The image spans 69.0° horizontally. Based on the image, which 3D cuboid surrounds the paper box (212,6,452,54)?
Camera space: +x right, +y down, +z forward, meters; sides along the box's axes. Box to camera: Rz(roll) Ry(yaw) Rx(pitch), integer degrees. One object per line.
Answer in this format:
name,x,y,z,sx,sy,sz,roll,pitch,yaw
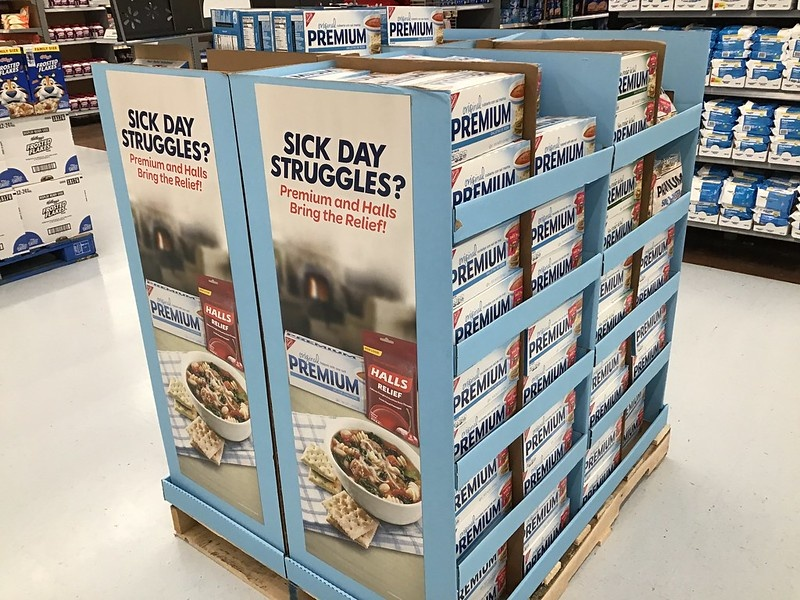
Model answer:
paper box,-0.275,-1.207,2.583,1.074,0.193,0.601,-11,30,-15
